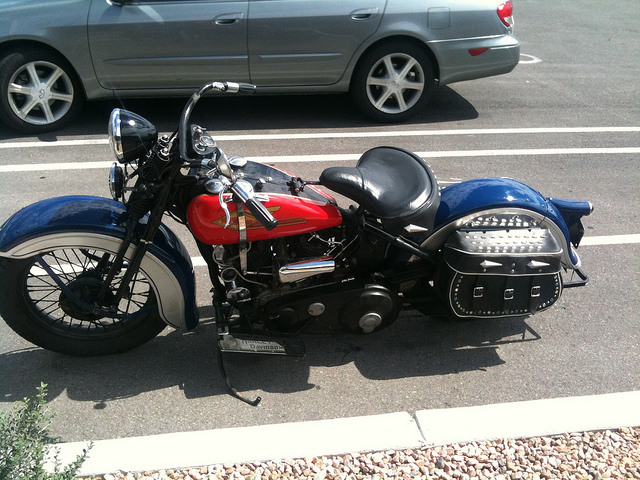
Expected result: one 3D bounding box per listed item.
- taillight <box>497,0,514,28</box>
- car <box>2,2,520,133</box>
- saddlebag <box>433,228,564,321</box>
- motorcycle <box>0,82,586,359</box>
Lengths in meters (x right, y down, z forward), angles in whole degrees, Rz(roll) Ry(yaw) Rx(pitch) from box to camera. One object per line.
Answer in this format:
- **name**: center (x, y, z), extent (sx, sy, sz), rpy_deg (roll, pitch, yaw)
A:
- **taillight**: center (2.202, -2.676, 6.836), extent (0.109, 0.286, 0.319), rpy_deg (4, 15, 45)
- **car**: center (-0.823, -2.061, 7.436), extent (6.612, 1.933, 2.013), rpy_deg (-1, 31, -4)
- **saddlebag**: center (1.176, 0.186, 3.882), extent (0.864, 0.518, 0.540), rpy_deg (-4, 23, -20)
- **motorcycle**: center (0.036, -0.161, 4.153), extent (4.347, 1.778, 1.430), rpy_deg (0, 46, -9)
